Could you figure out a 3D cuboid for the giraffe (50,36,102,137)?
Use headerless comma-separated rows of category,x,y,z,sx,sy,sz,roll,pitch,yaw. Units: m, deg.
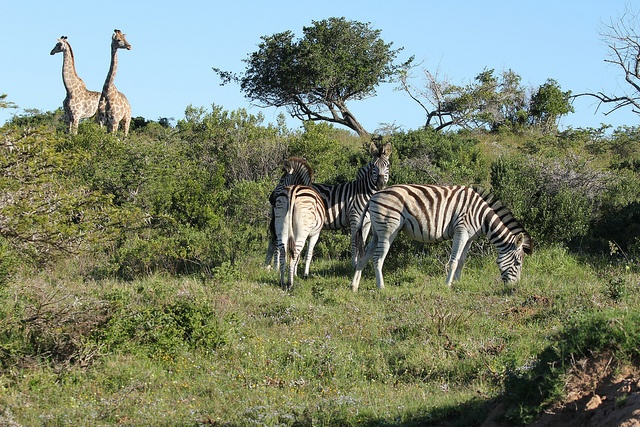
giraffe,-10.416,-5.583,30.216,1.880,3.717,1.184,6,-5,-29

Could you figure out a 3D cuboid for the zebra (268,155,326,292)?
zebra,-0.646,0.156,20.156,1.594,3.822,3.290,3,-4,-5

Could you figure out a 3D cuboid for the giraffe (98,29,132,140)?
giraffe,-8.326,-5.297,28.855,1.255,4.279,2.016,4,-5,-19
